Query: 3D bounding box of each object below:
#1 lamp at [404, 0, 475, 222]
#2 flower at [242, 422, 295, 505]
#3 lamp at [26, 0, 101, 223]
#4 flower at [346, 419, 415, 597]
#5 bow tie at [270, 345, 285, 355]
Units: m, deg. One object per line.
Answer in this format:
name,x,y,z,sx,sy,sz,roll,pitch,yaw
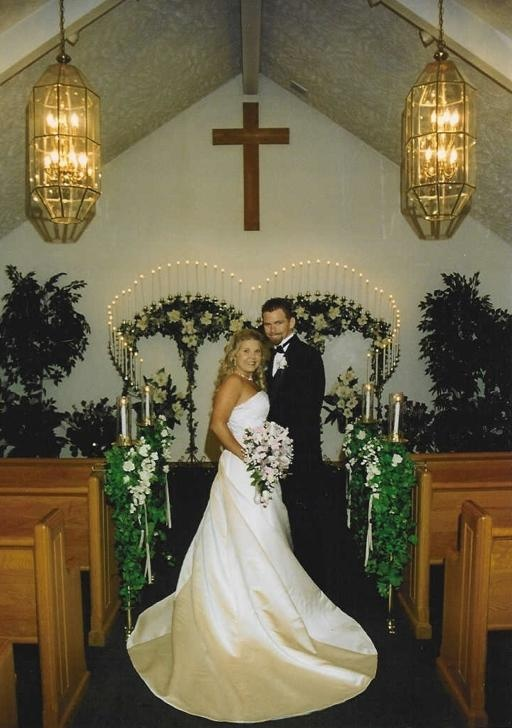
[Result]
lamp,1.037,-1.481,4.315,0.385,1.316,1.371,2,7,12
flower,0.050,0.513,3.841,0.246,0.451,0.254,0,6,0
lamp,-0.999,-1.278,3.882,0.369,1.049,0.327,-2,7,-16
flower,0.721,0.851,4.367,0.344,0.825,0.824,-5,-27,-8
bow tie,0.130,-0.081,4.671,0.053,0.065,0.024,5,12,10
